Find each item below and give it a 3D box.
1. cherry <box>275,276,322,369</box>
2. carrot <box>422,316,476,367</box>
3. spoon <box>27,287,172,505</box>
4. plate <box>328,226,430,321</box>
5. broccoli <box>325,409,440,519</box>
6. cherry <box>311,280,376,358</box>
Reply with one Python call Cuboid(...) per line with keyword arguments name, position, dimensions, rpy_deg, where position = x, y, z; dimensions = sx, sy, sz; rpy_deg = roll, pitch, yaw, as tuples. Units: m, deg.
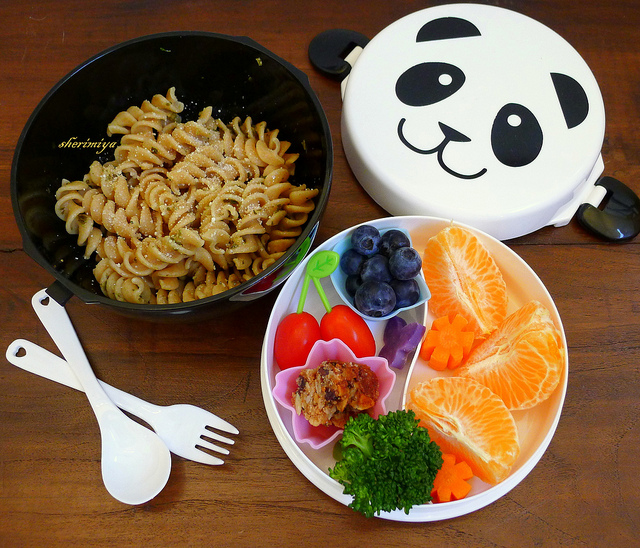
Cuboid(name="cherry", position=(-0.058, 0.148, 1.697), dimensions=(0.099, 0.101, 0.259), rpy_deg=(22, 74, -38))
Cuboid(name="carrot", position=(0.321, 0.169, 1.651), dimensions=(0.096, 0.051, 0.150), rpy_deg=(22, 70, 15))
Cuboid(name="spoon", position=(-0.592, 0.264, 1.764), dimensions=(0.511, 0.122, 0.072), rpy_deg=(58, 46, -22))
Cuboid(name="plate", position=(0.130, 0.025, 1.745), dimensions=(0.197, 0.091, 0.273), rpy_deg=(-24, 78, 8))
Cuboid(name="broccoli", position=(0.150, 0.444, 1.530), dimensions=(0.256, 0.126, 0.220), rpy_deg=(-2, 67, -4))
Cuboid(name="cherry", position=(0.087, 0.129, 1.704), dimensions=(0.193, 0.177, 0.126), rpy_deg=(26, 31, 30))
